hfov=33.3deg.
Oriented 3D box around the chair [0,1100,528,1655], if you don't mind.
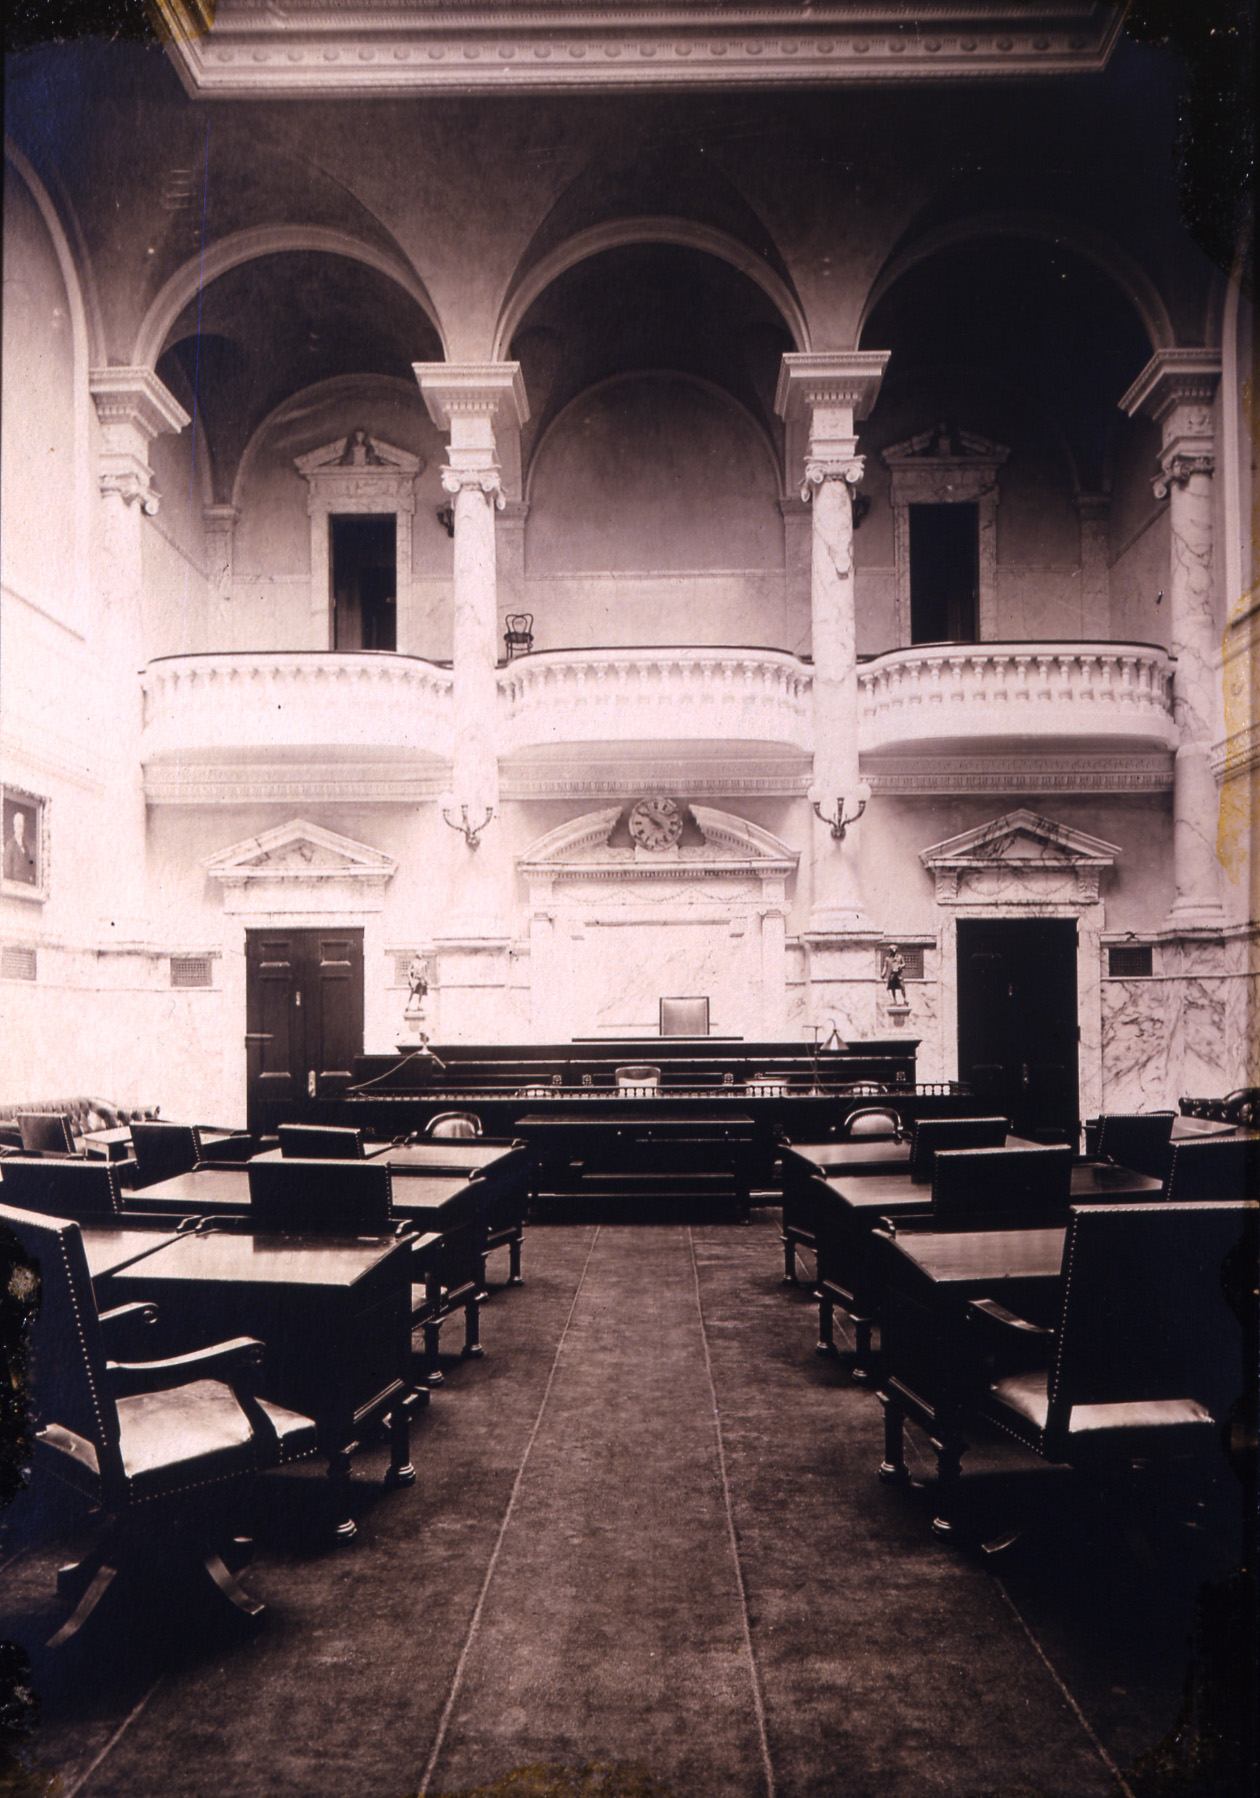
[{"bbox_3d":[-1.287,1.489,6.777,0.825,1.209,1.590,0,3,13],"label":"chair"}]
